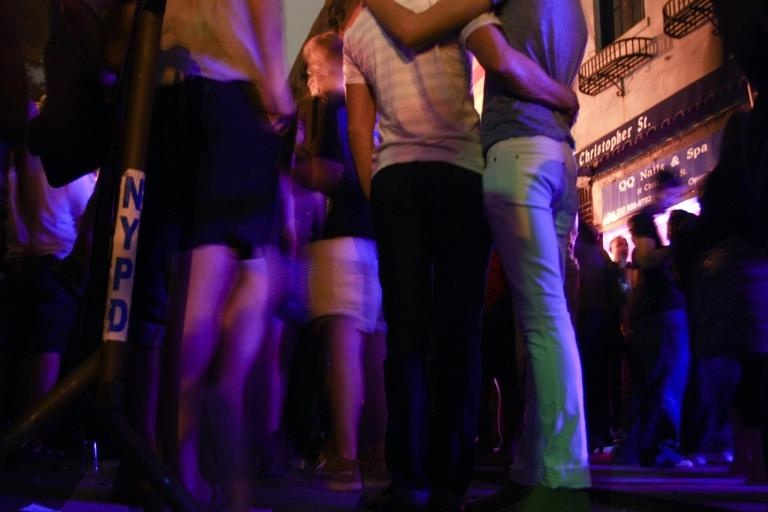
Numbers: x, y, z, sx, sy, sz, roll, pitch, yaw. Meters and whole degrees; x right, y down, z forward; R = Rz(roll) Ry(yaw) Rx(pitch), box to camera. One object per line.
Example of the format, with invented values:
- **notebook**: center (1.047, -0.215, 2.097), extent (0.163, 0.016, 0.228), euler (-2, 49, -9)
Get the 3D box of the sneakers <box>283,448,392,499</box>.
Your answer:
- **sneakers**: center (-0.313, 1.111, 3.921), extent (0.569, 0.266, 0.241), euler (-6, -13, 28)
